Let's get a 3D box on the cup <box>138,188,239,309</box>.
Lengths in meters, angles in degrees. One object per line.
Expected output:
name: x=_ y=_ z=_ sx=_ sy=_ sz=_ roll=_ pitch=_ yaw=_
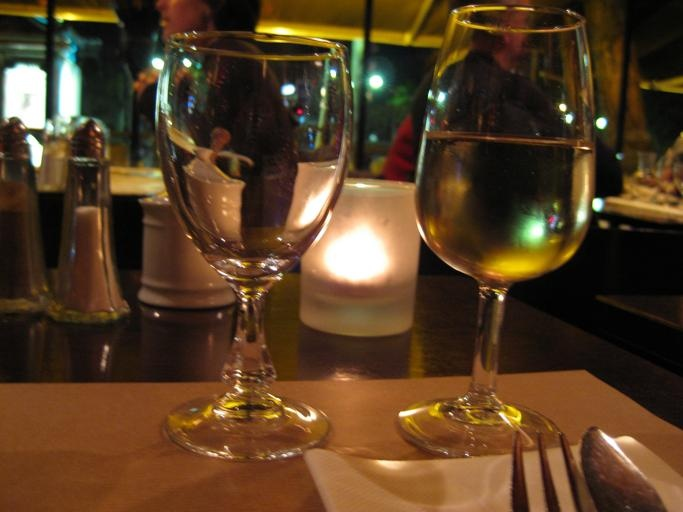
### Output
cup: x=-0.198 y=-0.008 z=0.892 sx=0.144 sy=0.149 sz=0.138 roll=2 pitch=2 yaw=0

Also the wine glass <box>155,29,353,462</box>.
wine glass: x=-0.062 y=-0.013 z=0.498 sx=0.151 sy=0.305 sz=0.119 roll=0 pitch=13 yaw=-17
